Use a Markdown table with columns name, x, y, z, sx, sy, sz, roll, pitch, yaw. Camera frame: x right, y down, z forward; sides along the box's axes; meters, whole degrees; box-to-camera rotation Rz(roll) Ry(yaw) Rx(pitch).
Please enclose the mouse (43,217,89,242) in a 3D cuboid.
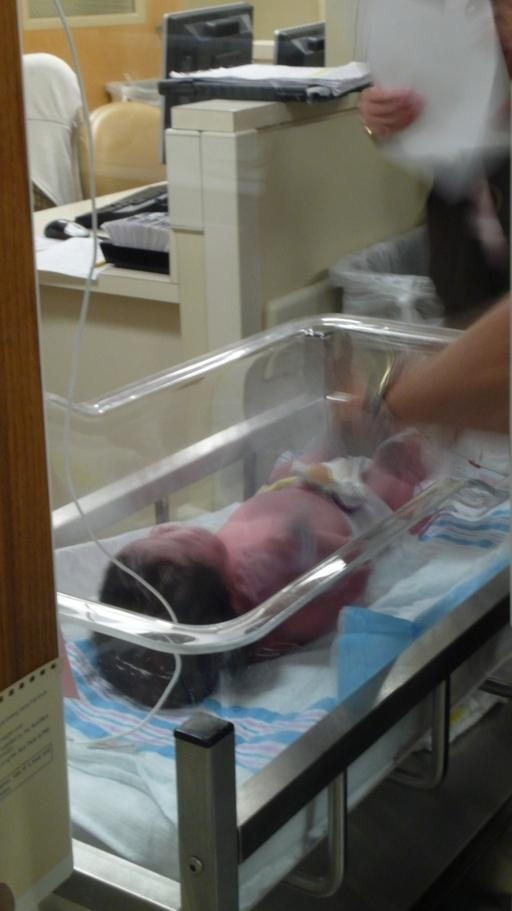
| name | x | y | z | sx | sy | sz | roll | pitch | yaw |
| --- | --- | --- | --- | --- | --- | --- | --- | --- | --- |
| mouse | -0.136 | -0.159 | 0.525 | 0.024 | 0.010 | 0.016 | 3 | 37 | 13 |
